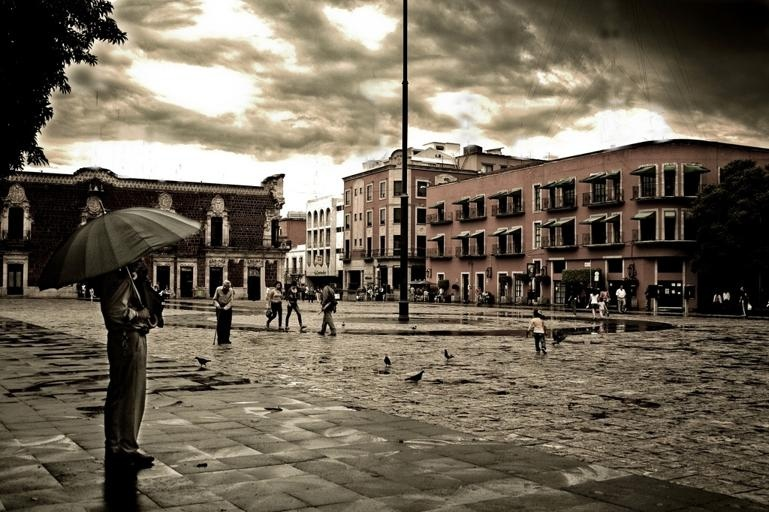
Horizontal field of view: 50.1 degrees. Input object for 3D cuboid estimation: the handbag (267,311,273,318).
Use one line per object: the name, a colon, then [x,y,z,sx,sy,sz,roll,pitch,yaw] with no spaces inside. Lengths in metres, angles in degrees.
handbag: [-3.893,2.008,28.280,0.206,0.237,0.258,0,-12,-4]

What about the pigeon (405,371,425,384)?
pigeon: [0.636,2.503,17.047,0.364,0.236,0.579,1,-6,2]

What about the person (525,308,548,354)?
person: [4.112,1.986,21.782,0.426,1.153,1.406,0,-6,11]
